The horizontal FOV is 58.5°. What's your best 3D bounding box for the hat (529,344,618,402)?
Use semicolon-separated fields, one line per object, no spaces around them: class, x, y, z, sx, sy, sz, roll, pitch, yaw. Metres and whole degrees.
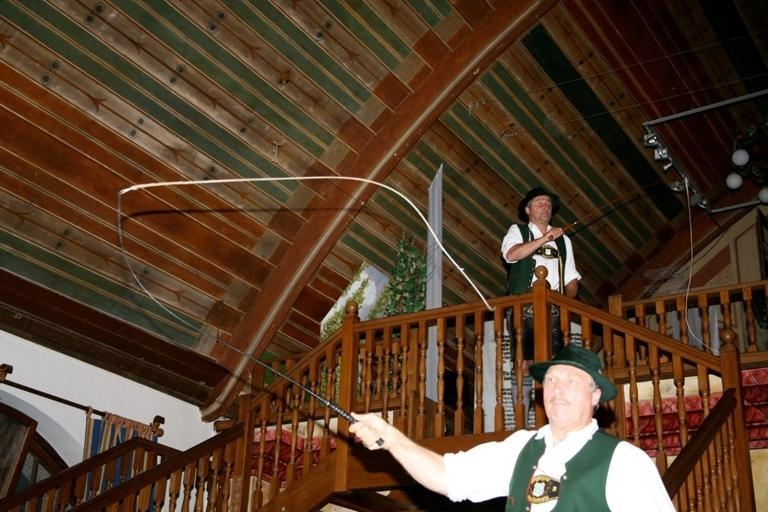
hat;1.035;0.559;3.640;0.355;0.175;0.422;23;-2;-30

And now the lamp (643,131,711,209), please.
lamp;3.824;-1.163;9.004;1.263;0.338;0.235;50;-11;-16

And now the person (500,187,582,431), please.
person;1.501;0.474;6.383;0.821;2.467;0.751;8;-19;-16
